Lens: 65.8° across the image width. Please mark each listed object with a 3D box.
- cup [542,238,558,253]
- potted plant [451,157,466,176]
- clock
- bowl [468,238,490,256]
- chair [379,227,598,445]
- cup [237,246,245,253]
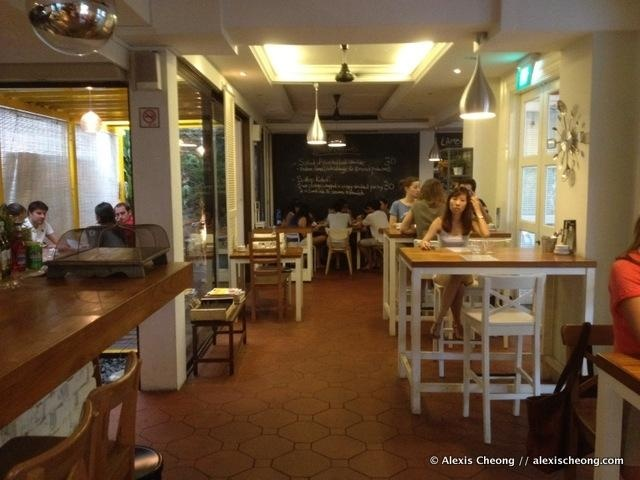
[{"bbox_3d":[1.820,0.038,3.941,0.114,0.144,0.111,-2,9,0],"label":"cup"},{"bbox_3d":[1.875,-0.968,6.649,0.198,0.253,0.209,-2,9,-3],"label":"potted plant"},{"bbox_3d":[2.004,-0.797,4.021,0.164,0.706,0.532,1,9,11],"label":"clock"},{"bbox_3d":[1.291,0.057,3.997,0.154,0.113,0.120,1,4,3],"label":"bowl"},{"bbox_3d":[1.260,0.674,4.233,1.308,1.160,1.397,-1,-1,1],"label":"chair"},{"bbox_3d":[-0.950,0.118,5.958,0.094,0.063,0.067,0,0,-3],"label":"cup"}]
